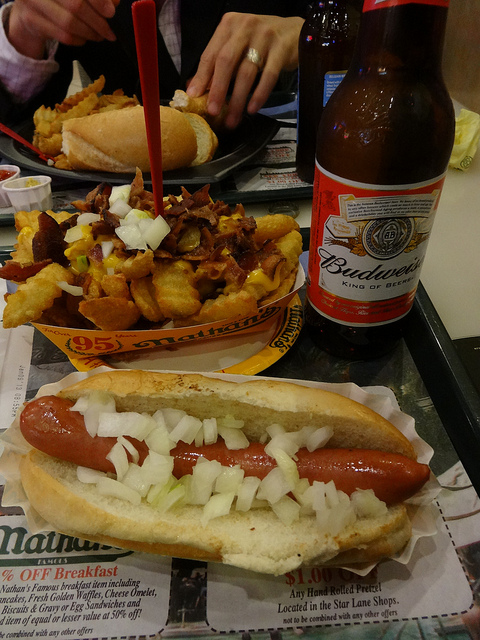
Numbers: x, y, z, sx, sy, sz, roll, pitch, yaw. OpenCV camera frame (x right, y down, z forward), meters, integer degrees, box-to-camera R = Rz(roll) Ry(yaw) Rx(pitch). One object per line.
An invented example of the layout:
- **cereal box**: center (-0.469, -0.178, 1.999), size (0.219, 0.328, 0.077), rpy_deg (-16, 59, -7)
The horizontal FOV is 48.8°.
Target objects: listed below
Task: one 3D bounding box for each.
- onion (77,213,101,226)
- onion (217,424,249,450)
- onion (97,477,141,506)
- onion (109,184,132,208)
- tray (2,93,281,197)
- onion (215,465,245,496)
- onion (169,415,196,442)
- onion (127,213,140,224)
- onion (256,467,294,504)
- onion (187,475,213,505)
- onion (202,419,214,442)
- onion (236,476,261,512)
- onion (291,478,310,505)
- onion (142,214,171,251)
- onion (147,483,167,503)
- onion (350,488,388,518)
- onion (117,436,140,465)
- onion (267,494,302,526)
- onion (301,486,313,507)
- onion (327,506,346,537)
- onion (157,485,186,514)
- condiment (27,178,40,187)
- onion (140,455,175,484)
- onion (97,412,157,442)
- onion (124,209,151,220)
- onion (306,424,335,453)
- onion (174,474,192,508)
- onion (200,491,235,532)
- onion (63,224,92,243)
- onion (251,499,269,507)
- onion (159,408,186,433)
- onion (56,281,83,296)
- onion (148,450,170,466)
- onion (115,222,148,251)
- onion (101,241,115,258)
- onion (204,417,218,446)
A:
- **onion**: center (-0.471, -0.314, 1.639), size (0.040, 0.015, 0.065), rpy_deg (26, 45, 23)
- **onion**: center (-0.020, 0.317, 1.438), size (0.063, 0.035, 0.104), rpy_deg (-18, 50, -13)
- **onion**: center (-0.311, 0.437, 1.356), size (0.128, 0.038, 0.039), rpy_deg (14, 51, 15)
- **onion**: center (-0.385, -0.403, 1.718), size (0.084, 0.030, 0.081), rpy_deg (-9, 57, 14)
- **tray**: center (-0.444, -0.812, 2.490), size (1.269, 0.442, 1.325), rpy_deg (16, 24, 41)
- **onion**: center (-0.025, 0.402, 1.333), size (0.074, 0.068, 0.065), rpy_deg (3, 79, 10)
- **onion**: center (-0.155, 0.290, 1.411), size (0.044, 0.017, 0.069), rpy_deg (15, 55, 21)
- **onion**: center (-0.309, -0.295, 1.540), size (0.041, 0.015, 0.026), rpy_deg (12, 50, 13)
- **onion**: center (0.087, 0.402, 1.295), size (0.068, 0.053, 0.069), rpy_deg (-28, 53, -21)
- **onion**: center (-0.100, 0.427, 1.344), size (0.070, 0.020, 0.065), rpy_deg (-4, 88, 31)
- **onion**: center (-0.086, 0.299, 1.426), size (0.031, 0.015, 0.050), rpy_deg (-7, 78, 5)
- **onion**: center (0.019, 0.431, 1.319), size (0.057, 0.024, 0.082), rpy_deg (6, 92, -3)
- **onion**: center (0.151, 0.420, 1.301), size (0.059, 0.049, 0.045), rpy_deg (-2, 6, -30)
- **onion**: center (-0.235, -0.242, 1.482), size (0.085, 0.086, 0.024), rpy_deg (-46, 41, -18)
- **onion**: center (-0.212, 0.439, 1.347), size (0.037, 0.014, 0.055), rpy_deg (40, 77, 11)
- **onion**: center (0.310, 0.448, 1.278), size (0.084, 0.021, 0.070), rpy_deg (26, 100, 3)
- **onion**: center (-0.286, 0.332, 1.371), size (0.068, 0.060, 0.023), rpy_deg (45, 83, -1)
- **onion**: center (0.112, 0.467, 1.296), size (0.074, 0.020, 0.077), rpy_deg (-40, 69, -16)
- **onion**: center (0.165, 0.429, 1.282), size (0.012, 0.037, 0.042), rpy_deg (9, 13, -13)
- **onion**: center (0.226, 0.472, 1.241), size (0.043, 0.015, 0.060), rpy_deg (29, 78, -22)
- **onion**: center (-0.173, 0.449, 1.324), size (0.081, 0.023, 0.040), rpy_deg (-47, 27, -14)
- **condiment**: center (-0.879, -0.592, 2.262), size (0.038, 0.012, 0.045), rpy_deg (-14, 42, -20)
- **onion**: center (-0.213, 0.383, 1.352), size (0.091, 0.049, 0.063), rpy_deg (-6, 49, -3)
- **onion**: center (-0.296, 0.271, 1.376), size (0.131, 0.032, 0.065), rpy_deg (1, 51, -2)
- **onion**: center (-0.298, -0.312, 1.558), size (0.047, 0.011, 0.042), rpy_deg (-3, 42, -15)
- **onion**: center (0.208, 0.312, 1.399), size (0.092, 0.056, 0.038), rpy_deg (-33, 56, -24)
- **onion**: center (-0.134, 0.438, 1.357), size (0.074, 0.020, 0.066), rpy_deg (5, 63, 57)
- **onion**: center (-0.060, 0.480, 1.318), size (0.064, 0.061, 0.110), rpy_deg (12, 50, 13)
- **onion**: center (-0.490, -0.261, 1.596), size (0.068, 0.021, 0.062), rpy_deg (-2, 56, 21)
- **onion**: center (0.052, 0.467, 1.348), size (0.038, 0.024, 0.023), rpy_deg (0, 46, 3)
- **onion**: center (-0.189, 0.278, 1.447), size (0.064, 0.020, 0.058), rpy_deg (9, 81, 15)
- **onion**: center (-0.488, -0.091, 1.523), size (0.104, 0.027, 0.023), rpy_deg (22, 73, -2)
- **onion**: center (-0.203, 0.351, 1.352), size (0.036, 0.010, 0.031), rpy_deg (3, 44, -27)
- **onion**: center (-0.305, -0.235, 1.488), size (0.061, 0.023, 0.086), rpy_deg (-39, 64, -17)
- **onion**: center (-0.389, -0.210, 1.558), size (0.037, 0.029, 0.054), rpy_deg (-10, 49, -6)
- **onion**: center (-0.084, 0.309, 1.431), size (0.024, 0.046, 0.057), rpy_deg (5, 79, -39)
